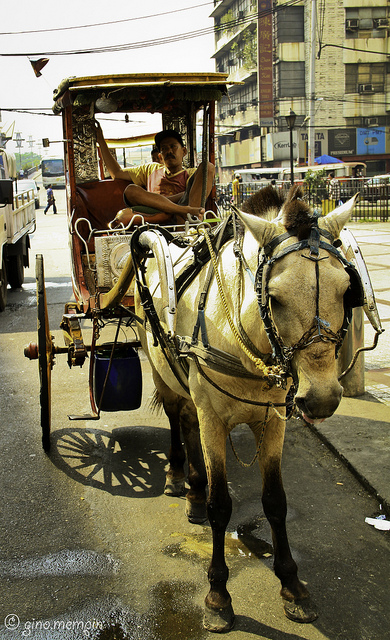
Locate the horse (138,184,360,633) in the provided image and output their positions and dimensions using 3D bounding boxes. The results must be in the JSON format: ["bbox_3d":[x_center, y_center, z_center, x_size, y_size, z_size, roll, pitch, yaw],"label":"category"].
[{"bbox_3d":[0.156,0.347,2.926,0.668,1.943,2.017,-3,10,-12],"label":"horse"}]

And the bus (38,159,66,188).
[{"bbox_3d":[-12.862,-13.144,53.546,1.693,2.313,2.934,1,10,12],"label":"bus"}]
